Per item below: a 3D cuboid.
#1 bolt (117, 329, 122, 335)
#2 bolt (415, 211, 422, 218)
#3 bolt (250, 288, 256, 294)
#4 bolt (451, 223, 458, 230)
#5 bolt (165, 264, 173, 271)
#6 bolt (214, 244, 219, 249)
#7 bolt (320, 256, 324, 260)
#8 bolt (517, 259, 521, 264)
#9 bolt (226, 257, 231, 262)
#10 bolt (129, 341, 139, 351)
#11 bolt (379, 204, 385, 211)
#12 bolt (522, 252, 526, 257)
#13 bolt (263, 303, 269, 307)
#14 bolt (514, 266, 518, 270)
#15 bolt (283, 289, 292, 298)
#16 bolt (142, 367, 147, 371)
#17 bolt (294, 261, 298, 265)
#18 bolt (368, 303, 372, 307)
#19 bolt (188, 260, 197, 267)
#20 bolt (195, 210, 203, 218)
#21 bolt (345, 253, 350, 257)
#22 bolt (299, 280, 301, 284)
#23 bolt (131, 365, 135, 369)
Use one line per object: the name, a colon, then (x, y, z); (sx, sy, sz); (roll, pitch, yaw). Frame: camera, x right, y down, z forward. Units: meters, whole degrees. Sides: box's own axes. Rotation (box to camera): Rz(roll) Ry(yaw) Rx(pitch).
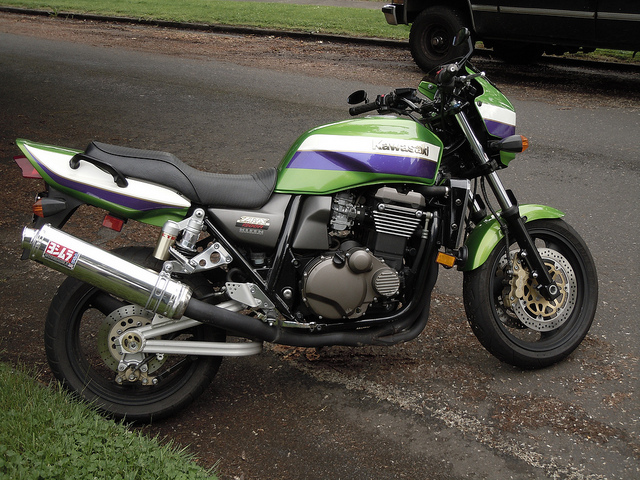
bolt: (-1.207, 0.560, 3.015); (0.029, 0.024, 0.010); (1, -9, -1)
bolt: (0.613, -0.160, 3.119); (0.047, 0.038, 0.014); (2, 3, -9)
bolt: (-0.409, 0.317, 3.059); (0.034, 0.030, 0.023); (-29, 48, -32)
bolt: (0.863, -0.085, 3.220); (0.042, 0.034, 0.009); (2, 8, -3)
bolt: (-0.879, 0.167, 2.926); (0.036, 0.034, 0.033); (-7, 39, -10)
bolt: (-0.615, 0.042, 2.991); (0.022, 0.022, 0.022); (-1, 39, -3)
bolt: (0.013, 0.114, 3.068); (0.027, 0.022, 0.006); (2, -1, 7)
bolt: (1.397, 0.155, 3.524); (0.037, 0.030, 0.009); (1, 0, -3)
bolt: (-0.552, 0.119, 3.011); (0.035, 0.029, 0.011); (1, 0, -13)
bolt: (-1.105, 0.637, 2.971); (0.054, 0.050, 0.035); (-7, 40, -10)
bolt: (0.378, -0.199, 3.071); (0.047, 0.039, 0.010); (1, 5, -8)
bolt: (1.419, 0.106, 3.487); (0.035, 0.029, 0.012); (1, -8, 11)
bolt: (-0.333, 0.406, 3.082); (0.025, 0.014, 0.012); (-3, 25, -10)
bolt: (1.373, 0.199, 3.513); (0.033, 0.027, 0.008); (4, -2, -6)
bolt: (-0.199, 0.335, 3.080); (0.055, 0.047, 0.029); (-3, 40, -5)
bolt: (-1.050, 0.782, 3.002); (0.025, 0.023, 0.008); (-9, 42, -12)
bolt: (-0.147, 0.142, 3.042); (0.030, 0.025, 0.008); (-5, 8, -5)
bolt: (0.322, 0.421, 3.196); (0.026, 0.012, 0.012); (-5, 17, -33)
bolt: (-0.755, 0.142, 2.951); (0.047, 0.038, 0.010); (-2, -7, -13)
bolt: (-0.698, -0.149, 2.903); (0.042, 0.041, 0.023); (-8, 41, -10)
bolt: (0.165, 0.095, 3.050); (0.023, 0.019, 0.018); (7, 39, 7)
bolt: (-0.123, 0.265, 3.082); (0.025, 0.021, 0.008); (10, -1, -33)
bolt: (-1.113, 0.767, 2.987); (0.023, 0.011, 0.010); (-1, 6, -5)
